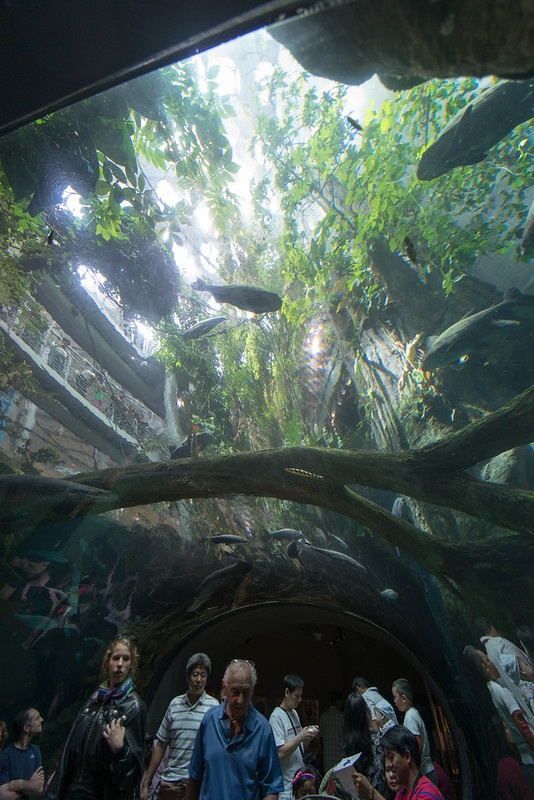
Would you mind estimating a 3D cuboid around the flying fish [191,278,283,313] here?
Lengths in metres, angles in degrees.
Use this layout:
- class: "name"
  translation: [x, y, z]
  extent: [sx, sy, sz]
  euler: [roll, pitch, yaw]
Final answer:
- class: "flying fish"
  translation: [-0.307, -1.082, 4.996]
  extent: [0.926, 0.314, 0.396]
  euler: [6, -39, -3]

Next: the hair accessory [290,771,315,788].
- class: "hair accessory"
  translation: [0.383, 3.879, 5.013]
  extent: [0.189, 0.157, 0.134]
  euler: [3, -39, -32]

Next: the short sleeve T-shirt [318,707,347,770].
- class: "short sleeve T-shirt"
  translation: [1.316, 7.057, 10.005]
  extent: [0.625, 1.245, 0.320]
  euler: [9, -12, -3]

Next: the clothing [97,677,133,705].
- class: "clothing"
  translation: [-1.048, 1.993, 3.319]
  extent: [0.163, 0.065, 0.131]
  euler: [-3, -15, 3]

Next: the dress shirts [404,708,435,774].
- class: "dress shirts"
  translation: [1.652, 3.707, 5.330]
  extent: [0.226, 0.525, 0.376]
  euler: [-9, -33, 7]
